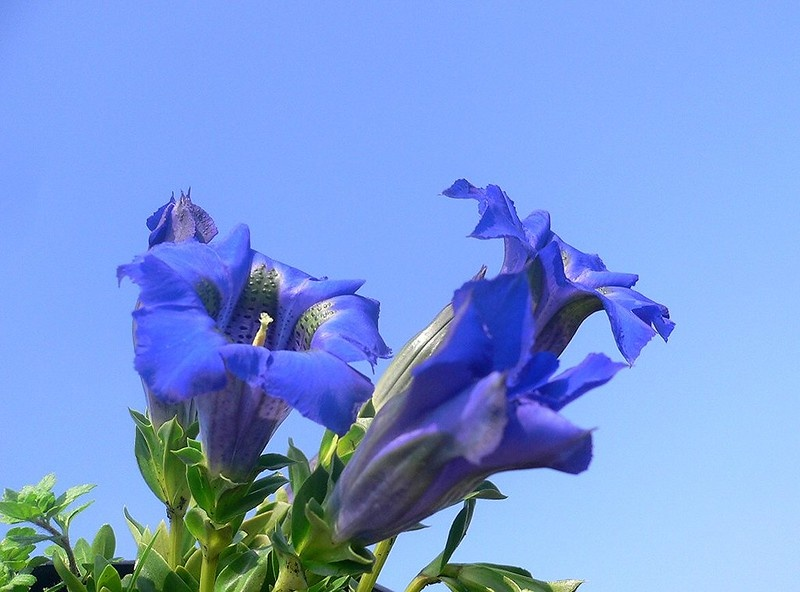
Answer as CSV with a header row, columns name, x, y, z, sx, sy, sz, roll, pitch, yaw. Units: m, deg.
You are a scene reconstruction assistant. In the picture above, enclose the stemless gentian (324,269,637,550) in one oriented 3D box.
name,x,y,z,sx,sy,sz,roll,pitch,yaw
stemless gentian,0.078,0.144,0.917,0.204,0.130,0.340,5,-48,-25
